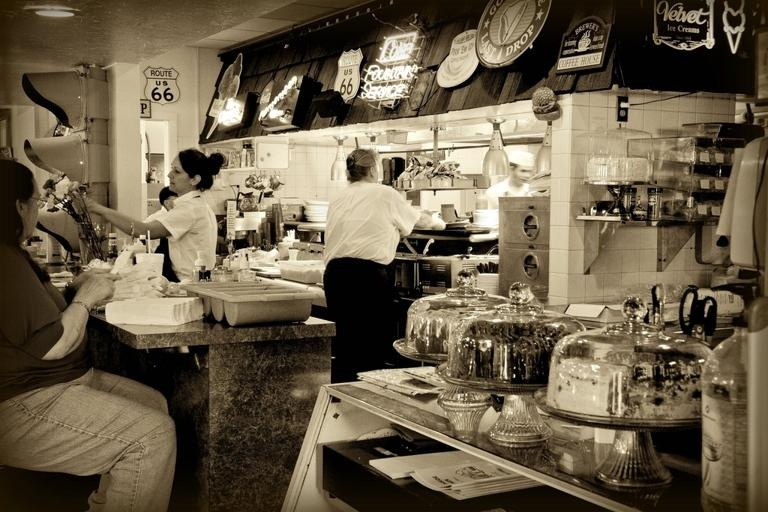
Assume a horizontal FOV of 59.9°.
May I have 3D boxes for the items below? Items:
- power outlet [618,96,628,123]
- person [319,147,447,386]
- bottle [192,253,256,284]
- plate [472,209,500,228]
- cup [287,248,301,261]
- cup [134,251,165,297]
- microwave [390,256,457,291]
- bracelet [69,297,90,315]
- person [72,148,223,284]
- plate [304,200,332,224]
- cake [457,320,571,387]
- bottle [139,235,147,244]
[{"bbox_3d":[1.741,-1.064,4.854,0.114,0.190,0.028,-3,9,-28],"label":"power outlet"},{"bbox_3d":[-0.098,0.112,5.318,0.754,1.907,0.511,-1,9,-15],"label":"person"},{"bbox_3d":[-0.993,0.109,4.231,0.317,0.192,0.317,0,-2,0],"label":"bottle"},{"bbox_3d":[0.865,-0.317,5.688,0.203,0.129,0.502,2,8,6],"label":"plate"},{"bbox_3d":[-1.033,-0.008,7.673,0.123,0.135,0.121,0,4,0],"label":"cup"},{"bbox_3d":[-1.446,0.108,3.978,0.245,0.323,0.243,-1,-2,0],"label":"cup"},{"bbox_3d":[0.221,0.186,5.692,0.645,0.304,0.314,3,-9,-35],"label":"microwave"},{"bbox_3d":[-1.514,0.250,3.322,0.075,0.054,0.075,3,-3,-28],"label":"bracelet"},{"bbox_3d":[-1.825,-0.039,5.288,1.085,1.584,0.557,-5,25,-30],"label":"person"},{"bbox_3d":[-0.803,-0.486,8.040,0.350,0.203,0.346,0,0,21],"label":"plate"},{"bbox_3d":[0.422,0.308,2.264,0.457,0.204,0.451,2,-2,-21],"label":"cake"},{"bbox_3d":[-1.766,-0.118,4.884,0.066,0.068,0.065,-2,7,-16],"label":"bottle"}]
